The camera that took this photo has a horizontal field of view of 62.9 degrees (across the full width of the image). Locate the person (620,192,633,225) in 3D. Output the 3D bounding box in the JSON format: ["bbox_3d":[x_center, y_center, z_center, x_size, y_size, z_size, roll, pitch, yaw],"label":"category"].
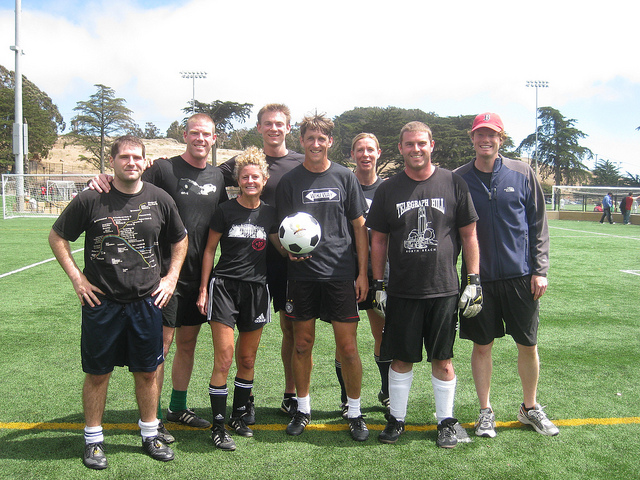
[{"bbox_3d":[17.316,-1.738,29.684,0.564,1.629,1.520,6,12,30],"label":"person"}]

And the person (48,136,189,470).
[{"bbox_3d":[-1.655,0.503,4.519,1.079,2.751,0.686,-5,12,-27],"label":"person"}]

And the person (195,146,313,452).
[{"bbox_3d":[-0.734,0.471,4.999,0.845,2.674,1.216,1,10,6],"label":"person"}]

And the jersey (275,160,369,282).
[{"bbox_3d":[0.052,-0.189,5.267,0.694,1.195,0.988,3,7,-4],"label":"jersey"}]

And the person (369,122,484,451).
[{"bbox_3d":[0.973,0.380,4.841,1.066,2.873,0.771,2,11,7],"label":"person"}]

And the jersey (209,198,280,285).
[{"bbox_3d":[-0.702,0.018,5.013,0.662,0.802,0.329,-2,11,-11],"label":"jersey"}]

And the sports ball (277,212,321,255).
[{"bbox_3d":[-0.192,-0.133,5.002,0.387,0.432,0.358,-4,19,1],"label":"sports ball"}]
